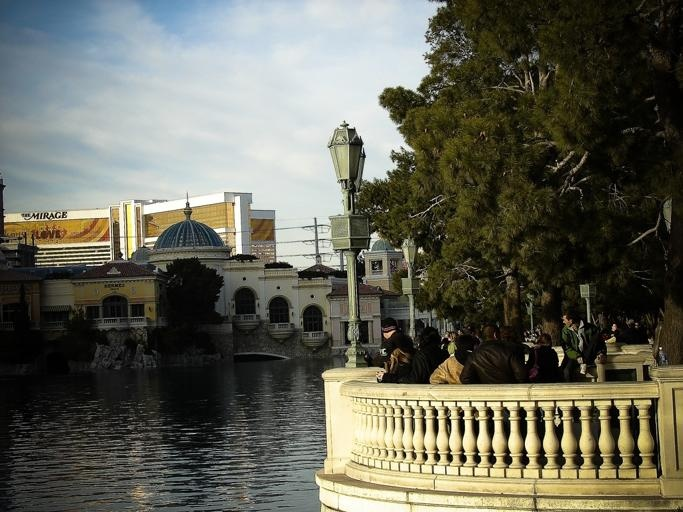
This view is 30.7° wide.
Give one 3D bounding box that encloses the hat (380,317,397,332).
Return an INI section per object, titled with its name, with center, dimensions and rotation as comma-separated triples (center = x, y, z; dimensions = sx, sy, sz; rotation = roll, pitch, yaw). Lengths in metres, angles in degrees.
[hat]
center = 0.881, 1.259, 22.310
dimensions = 0.210, 0.254, 0.292
rotation = 1, 1, -3
